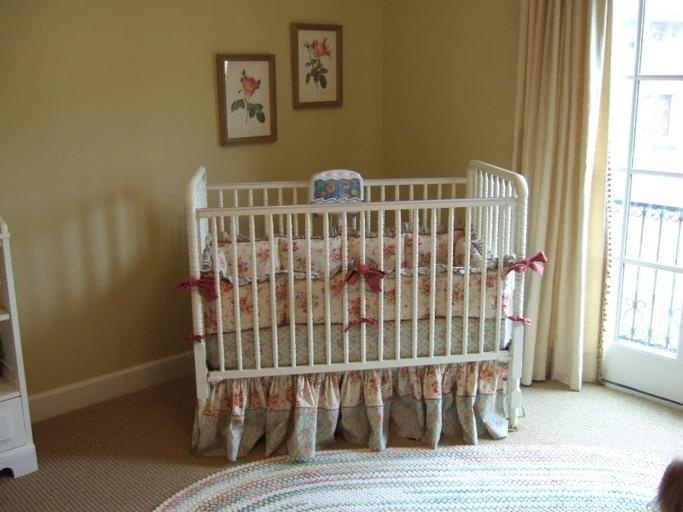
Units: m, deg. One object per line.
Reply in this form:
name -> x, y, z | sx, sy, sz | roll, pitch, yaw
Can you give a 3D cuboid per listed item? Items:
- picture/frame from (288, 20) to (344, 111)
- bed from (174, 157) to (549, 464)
picture/frame -> -0.174, -1.218, 3.937 | 0.490, 0.596, 0.024 | -15, 24, -36
bed -> 0.087, 0.229, 3.316 | 1.704, 1.405, 0.820 | -1, 13, -7
